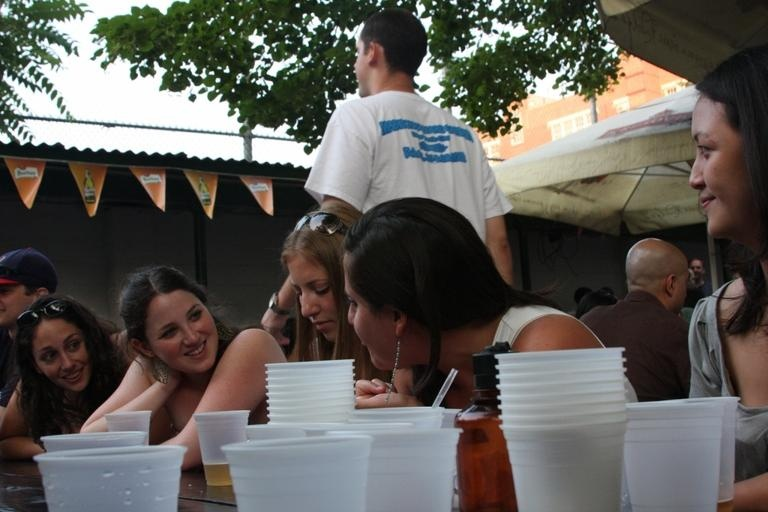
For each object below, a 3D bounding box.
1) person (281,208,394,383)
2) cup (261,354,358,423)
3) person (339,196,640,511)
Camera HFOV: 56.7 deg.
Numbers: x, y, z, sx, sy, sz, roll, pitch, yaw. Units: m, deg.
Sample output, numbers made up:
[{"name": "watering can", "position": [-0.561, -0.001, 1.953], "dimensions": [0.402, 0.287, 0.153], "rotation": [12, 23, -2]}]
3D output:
[{"name": "person", "position": [-0.324, 0.211, 3.995], "dimensions": [0.731, 1.216, 0.782], "rotation": [-1, -4, -9]}, {"name": "cup", "position": [-0.202, 0.378, 1.990], "dimensions": [0.199, 0.122, 0.197], "rotation": [-1, -3, 0]}, {"name": "person", "position": [0.335, 0.240, 2.831], "dimensions": [1.053, 1.073, 0.648], "rotation": [-2, -10, -3]}]
